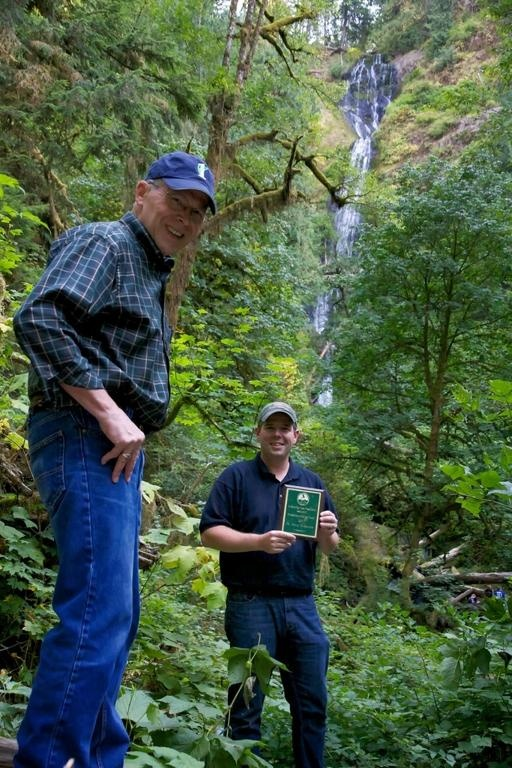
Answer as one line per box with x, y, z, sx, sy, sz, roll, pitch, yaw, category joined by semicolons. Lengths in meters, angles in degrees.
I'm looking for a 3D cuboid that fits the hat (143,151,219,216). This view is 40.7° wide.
-0.234;-0.649;2.203;0.242;0.112;0.180;23;8;40;hat

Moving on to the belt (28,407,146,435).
-0.514;0.093;1.874;0.169;0.038;0.125;12;-8;-25;belt

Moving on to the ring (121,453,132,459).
-0.346;0.193;1.840;0.016;0.007;0.017;9;-4;1;ring
